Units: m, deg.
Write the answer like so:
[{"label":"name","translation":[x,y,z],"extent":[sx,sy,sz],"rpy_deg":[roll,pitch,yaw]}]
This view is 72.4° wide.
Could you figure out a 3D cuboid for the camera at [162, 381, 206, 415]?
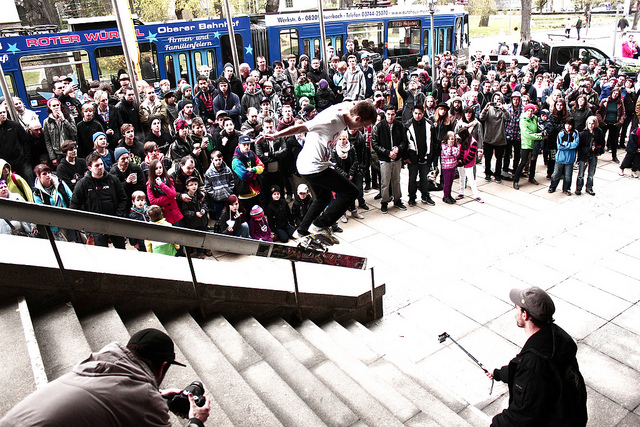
[{"label":"camera","translation":[-1.146,1.590,3.833],"extent":[0.176,0.278,0.305],"rpy_deg":[-25,6,19]}]

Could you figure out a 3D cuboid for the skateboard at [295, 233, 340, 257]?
[{"label":"skateboard","translation":[-0.042,0.438,6.215],"extent":[0.739,0.319,0.248],"rpy_deg":[7,10,-4]}]

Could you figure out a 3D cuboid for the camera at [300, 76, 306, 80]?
[{"label":"camera","translation":[-0.515,-4.199,13.474],"extent":[0.179,0.101,0.069],"rpy_deg":[-14,24,-22]}]

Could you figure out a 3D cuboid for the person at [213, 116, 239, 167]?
[{"label":"person","translation":[-2.256,-1.812,10.005],"extent":[0.479,1.110,0.309],"rpy_deg":[-7,49,-3]}]

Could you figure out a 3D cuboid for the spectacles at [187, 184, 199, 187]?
[{"label":"spectacles","translation":[-2.634,-0.580,8.967],"extent":[0.194,0.053,0.061],"rpy_deg":[-5,22,-2]}]

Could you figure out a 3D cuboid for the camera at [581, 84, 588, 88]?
[{"label":"camera","translation":[8.329,-4.029,13.749],"extent":[0.122,0.089,0.268],"rpy_deg":[6,24,24]}]

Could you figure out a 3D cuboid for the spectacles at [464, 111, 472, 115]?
[{"label":"spectacles","translation":[3.907,-2.672,11.530],"extent":[0.177,0.081,0.081],"rpy_deg":[2,23,15]}]

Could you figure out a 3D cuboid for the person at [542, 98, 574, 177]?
[{"label":"person","translation":[6.823,-2.123,12.482],"extent":[0.879,2.291,0.806],"rpy_deg":[-1,16,12]}]
